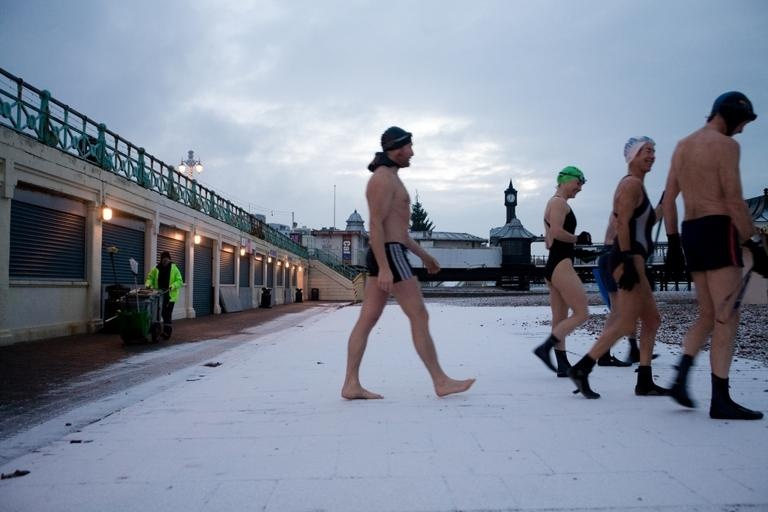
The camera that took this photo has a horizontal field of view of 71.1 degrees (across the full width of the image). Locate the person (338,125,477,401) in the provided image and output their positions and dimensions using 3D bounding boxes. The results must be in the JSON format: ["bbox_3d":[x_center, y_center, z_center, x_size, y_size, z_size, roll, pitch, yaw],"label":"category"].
[{"bbox_3d":[0.135,0.062,5.756,1.235,2.910,0.639,-1,3,-5],"label":"person"}]

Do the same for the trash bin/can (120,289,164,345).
[{"bbox_3d":[-5.121,1.243,11.340,0.710,1.184,0.739,-1,3,-7],"label":"trash bin/can"}]

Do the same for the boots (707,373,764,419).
[{"bbox_3d":[3.268,1.295,5.004,0.431,0.405,0.184,-1,3,2],"label":"boots"}]

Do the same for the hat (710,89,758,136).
[{"bbox_3d":[3.524,-1.458,5.408,0.402,0.416,0.339,9,18,17],"label":"hat"}]

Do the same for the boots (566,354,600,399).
[{"bbox_3d":[2.224,1.347,5.989,0.470,0.353,0.189,40,-6,-13],"label":"boots"}]

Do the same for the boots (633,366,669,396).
[{"bbox_3d":[2.923,1.354,5.900,0.442,0.359,0.191,0,-4,-8],"label":"boots"}]

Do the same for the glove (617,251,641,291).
[{"bbox_3d":[2.586,0.151,5.769,0.114,0.375,0.268,8,1,11],"label":"glove"}]

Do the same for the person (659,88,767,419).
[{"bbox_3d":[3.166,-0.060,5.188,0.842,3.096,0.782,1,3,29],"label":"person"}]

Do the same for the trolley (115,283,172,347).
[{"bbox_3d":[-5.150,1.235,11.556,0.858,1.091,1.171,0,2,-5],"label":"trolley"}]
